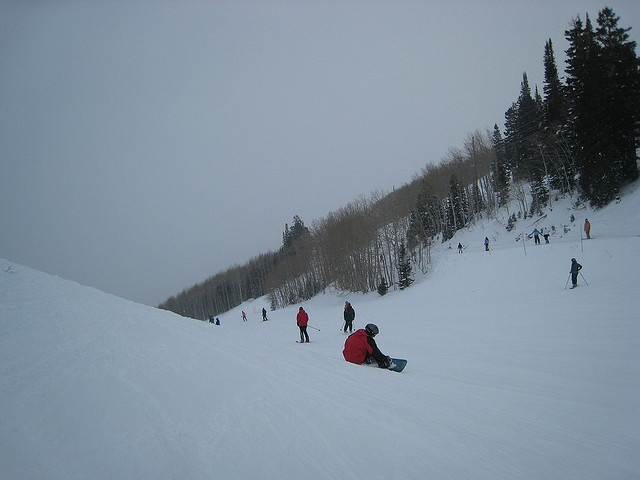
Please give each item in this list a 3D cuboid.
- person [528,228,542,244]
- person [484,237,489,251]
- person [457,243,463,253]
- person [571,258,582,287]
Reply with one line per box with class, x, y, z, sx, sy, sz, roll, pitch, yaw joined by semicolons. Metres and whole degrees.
person;15.598;-0.298;33.858;0.661;1.238;0.367;-18;20;-4
person;12.601;0.390;35.202;0.296;1.077;1.440;-5;-7;18
person;12.099;0.684;40.373;0.281;1.214;0.564;4;-11;1
person;10.849;1.402;19.776;0.337;1.244;0.831;-6;-7;24
